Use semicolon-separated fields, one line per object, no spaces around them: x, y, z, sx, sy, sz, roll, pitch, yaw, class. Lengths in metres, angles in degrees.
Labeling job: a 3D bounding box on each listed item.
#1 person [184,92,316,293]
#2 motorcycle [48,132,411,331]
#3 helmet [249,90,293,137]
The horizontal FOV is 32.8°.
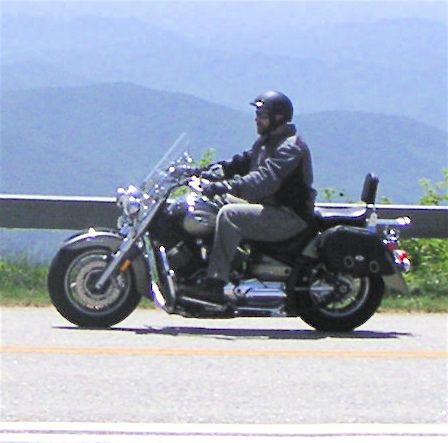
0.126;-0.273;6.228;0.967;1.212;0.931;1;1;-37;person
0.070;0.160;6.214;2.868;1.542;1.257;1;2;-2;motorcycle
0.469;-0.922;6.473;0.336;0.385;0.296;-1;10;-15;helmet
